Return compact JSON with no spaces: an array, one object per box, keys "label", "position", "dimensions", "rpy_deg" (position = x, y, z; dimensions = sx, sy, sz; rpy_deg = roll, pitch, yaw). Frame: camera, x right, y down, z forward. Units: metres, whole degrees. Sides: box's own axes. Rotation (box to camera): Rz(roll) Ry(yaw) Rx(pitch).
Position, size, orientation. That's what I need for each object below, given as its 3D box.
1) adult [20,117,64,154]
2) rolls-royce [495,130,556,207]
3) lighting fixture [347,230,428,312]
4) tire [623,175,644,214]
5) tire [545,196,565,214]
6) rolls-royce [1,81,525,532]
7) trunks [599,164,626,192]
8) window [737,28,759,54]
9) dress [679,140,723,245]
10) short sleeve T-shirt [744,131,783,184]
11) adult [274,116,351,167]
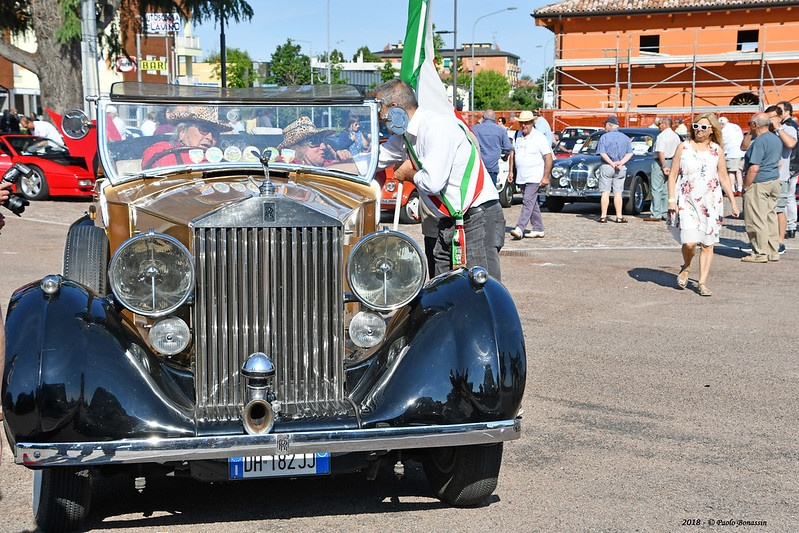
[{"label":"adult","position":[-8.862,-3.337,25.003],"dimensions":[1.023,0.332,0.325],"rpy_deg":[23,1,-26]},{"label":"rolls-royce","position":[2.536,-1.981,22.368],"dimensions":[1.213,1.299,2.262],"rpy_deg":[-1,13,-9]},{"label":"lighting fixture","position":[-0.093,0.033,7.698],"dimensions":[0.587,0.619,0.197],"rpy_deg":[22,-3,-9]},{"label":"tire","position":[4.810,-1.514,20.757],"dimensions":[0.233,0.739,0.709],"rpy_deg":[-2,4,26]},{"label":"tire","position":[3.341,-1.341,21.684],"dimensions":[0.129,0.357,0.340],"rpy_deg":[-7,-6,41]},{"label":"rolls-royce","position":[-1.044,0.178,8.046],"dimensions":[4.063,3.083,2.998],"rpy_deg":[1,14,7]},{"label":"trunks","position":[4.105,-1.722,19.442],"dimensions":[0.472,0.506,0.286],"rpy_deg":[2,17,-2]},{"label":"window","position":[15.207,-9.839,44.021],"dimensions":[0.900,0.848,1.737],"rpy_deg":[4,15,18]},{"label":"dress","position":[3.812,-0.918,12.836],"dimensions":[0.577,1.290,0.363],"rpy_deg":[3,14,15]},{"label":"short sleeve T-shirt","position":[5.374,-1.593,14.848],"dimensions":[0.361,0.621,0.665],"rpy_deg":[11,18,39]},{"label":"adult","position":[-0.805,-1.098,8.766],"dimensions":[0.672,0.386,0.477],"rpy_deg":[6,2,10]}]
